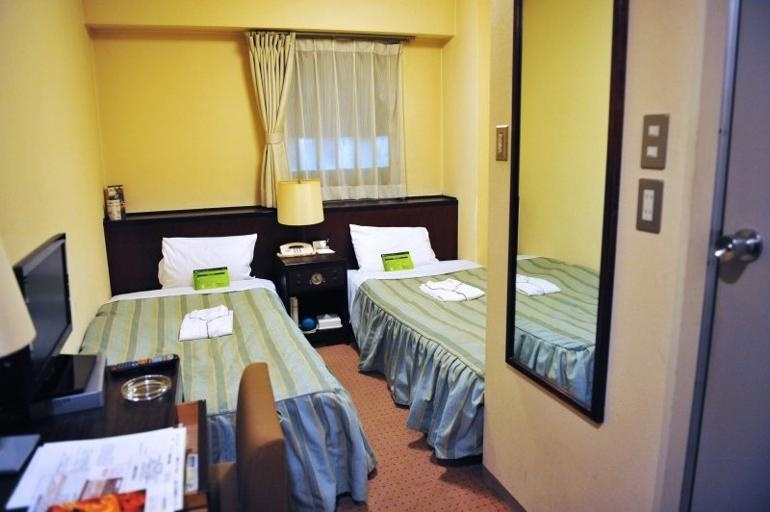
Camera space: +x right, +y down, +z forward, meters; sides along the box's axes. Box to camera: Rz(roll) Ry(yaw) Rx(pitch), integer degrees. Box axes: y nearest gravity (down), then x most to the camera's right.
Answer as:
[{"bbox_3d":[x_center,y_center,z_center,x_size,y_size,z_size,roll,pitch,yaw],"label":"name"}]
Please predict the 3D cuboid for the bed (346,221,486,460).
[{"bbox_3d":[0.334,0.493,3.559,0.915,0.665,1.441,-4,14,-16],"label":"bed"}]

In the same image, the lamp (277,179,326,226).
[{"bbox_3d":[-0.695,-0.445,4.425,0.432,0.375,0.432,-2,6,-12],"label":"lamp"}]

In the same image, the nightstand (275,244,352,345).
[{"bbox_3d":[-0.601,0.281,4.604,0.520,0.716,0.499,-8,22,-15],"label":"nightstand"}]

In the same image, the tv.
[{"bbox_3d":[-1.437,0.263,2.337,0.181,0.529,0.559,-6,27,-19],"label":"tv"}]

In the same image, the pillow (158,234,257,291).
[{"bbox_3d":[-1.396,0.058,4.289,0.745,0.447,0.168,-2,-14,-11],"label":"pillow"}]
